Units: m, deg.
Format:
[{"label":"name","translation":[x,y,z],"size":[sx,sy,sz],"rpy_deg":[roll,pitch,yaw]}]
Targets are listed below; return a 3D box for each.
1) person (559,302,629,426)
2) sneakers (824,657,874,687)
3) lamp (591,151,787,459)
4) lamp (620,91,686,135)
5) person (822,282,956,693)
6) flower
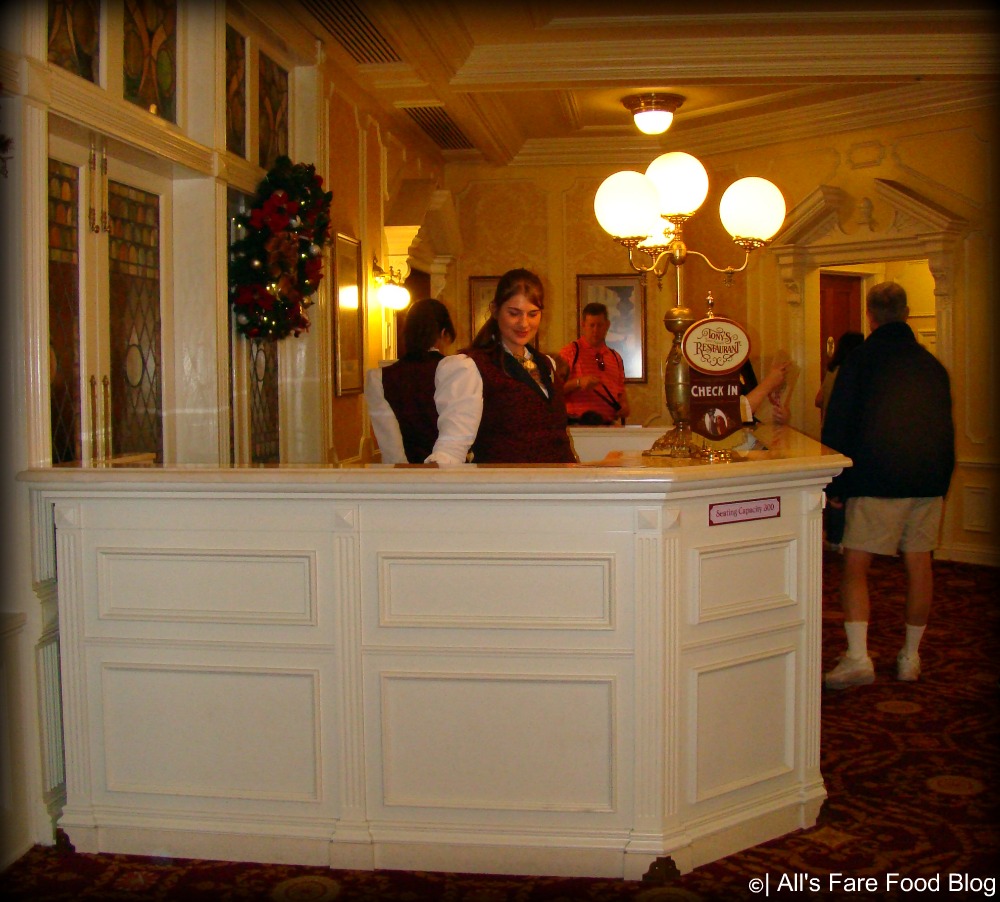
[{"label":"person","translation":[0.786,-0.521,7.339],"size":[0.537,1.357,0.496],"rpy_deg":[-3,31,1]},{"label":"sneakers","translation":[1.782,1.128,4.666],"size":[0.261,0.136,0.129],"rpy_deg":[-2,1,-10]},{"label":"lamp","translation":[0.851,-0.700,4.520],"size":[0.921,1.530,0.753],"rpy_deg":[-2,5,-13]},{"label":"lamp","translation":[1.356,-3.047,7.937],"size":[0.515,0.268,0.476],"rpy_deg":[-2,9,1]},{"label":"person","translation":[1.967,0.176,4.696],"size":[0.770,2.101,0.379],"rpy_deg":[-6,6,-22]},{"label":"flower","translation":[-1.262,-1.148,5.203],"size":[0.676,1.050,0.354],"rpy_deg":[15,-6,-26]}]
